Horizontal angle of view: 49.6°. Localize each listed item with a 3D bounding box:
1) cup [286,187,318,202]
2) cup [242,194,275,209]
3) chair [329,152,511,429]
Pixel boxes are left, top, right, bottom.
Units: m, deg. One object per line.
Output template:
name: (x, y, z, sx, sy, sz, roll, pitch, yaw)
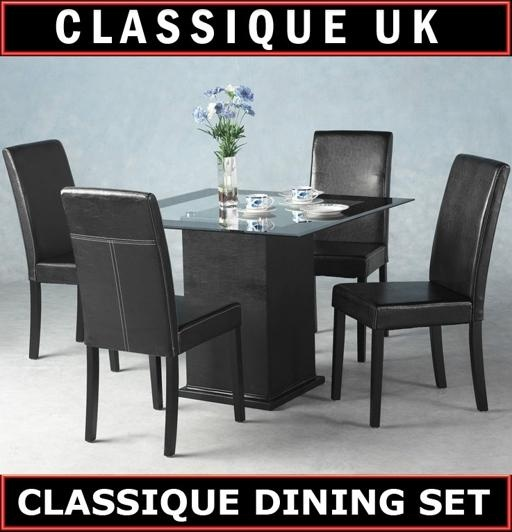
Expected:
cup: (0.217, -0.309, 2.464, 0.080, 0.047, 0.133, 0, 3, 25)
cup: (0.004, -0.250, 2.303, 0.095, 0.058, 0.123, 0, 4, 20)
chair: (0.588, 0.069, 2.113, 0.609, 0.978, 0.489, -1, 9, 6)
